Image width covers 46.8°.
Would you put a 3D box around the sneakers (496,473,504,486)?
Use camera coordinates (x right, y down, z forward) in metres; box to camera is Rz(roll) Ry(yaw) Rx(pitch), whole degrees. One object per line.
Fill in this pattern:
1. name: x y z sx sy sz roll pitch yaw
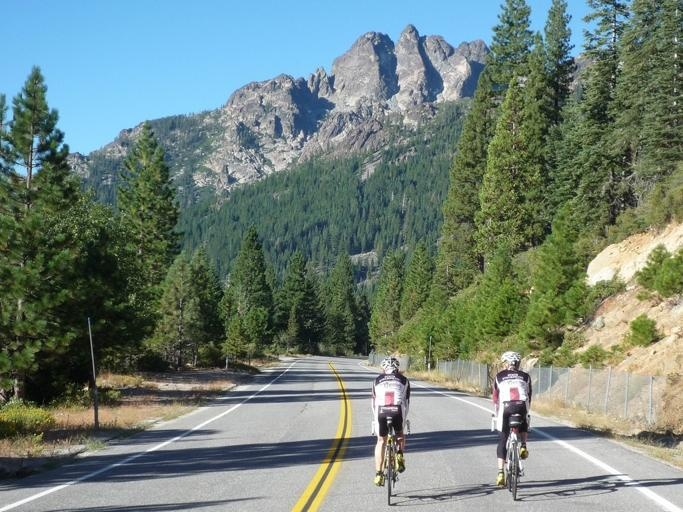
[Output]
1. sneakers: 5.418 7.629 26.874 0.210 0.472 0.202 5 5 -3

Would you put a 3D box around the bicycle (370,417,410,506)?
1. bicycle: 1.653 6.900 26.773 0.634 2.906 1.194 -3 -8 3
